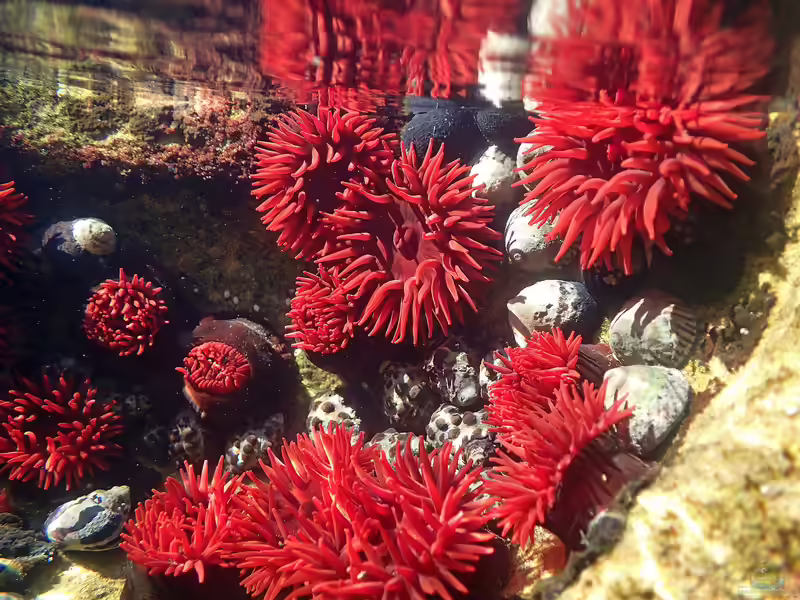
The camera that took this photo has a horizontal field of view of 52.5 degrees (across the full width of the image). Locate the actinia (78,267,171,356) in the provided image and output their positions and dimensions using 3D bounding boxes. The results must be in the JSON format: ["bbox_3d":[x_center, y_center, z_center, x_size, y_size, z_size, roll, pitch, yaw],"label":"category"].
[{"bbox_3d":[-2.418,0.095,7.368,0.731,0.755,0.413,24,0,-10],"label":"actinia"}]

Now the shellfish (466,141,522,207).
[{"bbox_3d":[0.796,-1.044,6.883,0.371,0.476,0.258,-24,-8,-5],"label":"shellfish"}]

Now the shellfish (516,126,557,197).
[{"bbox_3d":[1.067,-1.153,6.630,0.236,0.452,0.348,18,-15,-37],"label":"shellfish"}]
